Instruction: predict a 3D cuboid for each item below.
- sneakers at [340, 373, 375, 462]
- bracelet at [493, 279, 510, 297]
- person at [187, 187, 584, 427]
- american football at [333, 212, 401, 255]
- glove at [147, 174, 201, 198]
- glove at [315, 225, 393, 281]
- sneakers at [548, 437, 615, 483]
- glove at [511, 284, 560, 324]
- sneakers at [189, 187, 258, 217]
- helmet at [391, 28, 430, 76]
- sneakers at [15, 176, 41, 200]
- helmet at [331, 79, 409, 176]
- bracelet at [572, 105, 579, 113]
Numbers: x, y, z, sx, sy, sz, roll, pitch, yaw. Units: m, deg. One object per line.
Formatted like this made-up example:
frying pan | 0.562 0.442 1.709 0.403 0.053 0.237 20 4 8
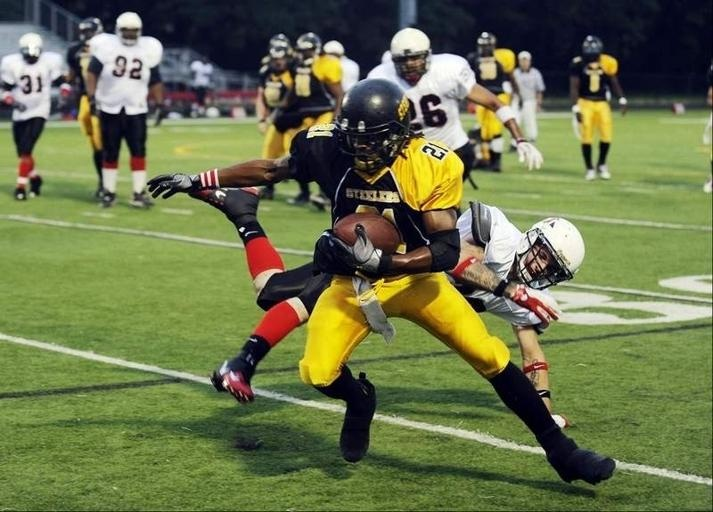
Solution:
sneakers | 0.025 0.805 4.049 0.169 0.425 0.170 1 -37 16
bracelet | 0.729 0.158 4.060 0.066 0.078 0.081 33 -35 -14
person | 0.163 0.254 4.303 2.059 0.827 0.674 1 14 -13
american football | 0.053 -0.078 3.843 0.342 0.221 0.225 -1 -15 -28
glove | -0.910 -0.379 4.102 0.231 0.132 0.087 -13 53 -48
glove | 0.032 -0.013 3.823 0.454 0.230 0.341 -4 0 44
sneakers | 1.031 0.969 3.707 0.265 0.242 0.163 0 6 -8
glove | 0.926 0.237 4.180 0.271 0.183 0.080 32 -55 -28
sneakers | -0.804 -0.334 4.630 0.467 0.116 0.186 5 -17 -25
helmet | 0.462 -1.791 6.963 0.351 0.411 0.293 1 6 4
sneakers | -2.022 -0.421 4.960 0.073 0.072 0.188 6 23 -4
helmet | 0.088 -0.662 3.940 0.392 0.363 0.427 -1 29 8
bracelet | 3.010 -2.042 11.099 0.100 0.084 0.111 2 -4 5
